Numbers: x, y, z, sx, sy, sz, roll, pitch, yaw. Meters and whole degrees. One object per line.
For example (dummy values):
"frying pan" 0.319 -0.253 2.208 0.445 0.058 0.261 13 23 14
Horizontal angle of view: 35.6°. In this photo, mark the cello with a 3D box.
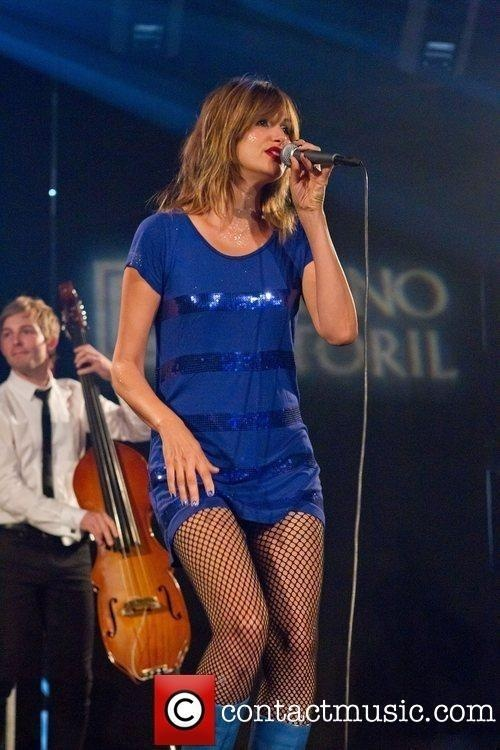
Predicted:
"cello" -0.317 0.323 1.940 0.237 0.765 0.234 0 4 -24
